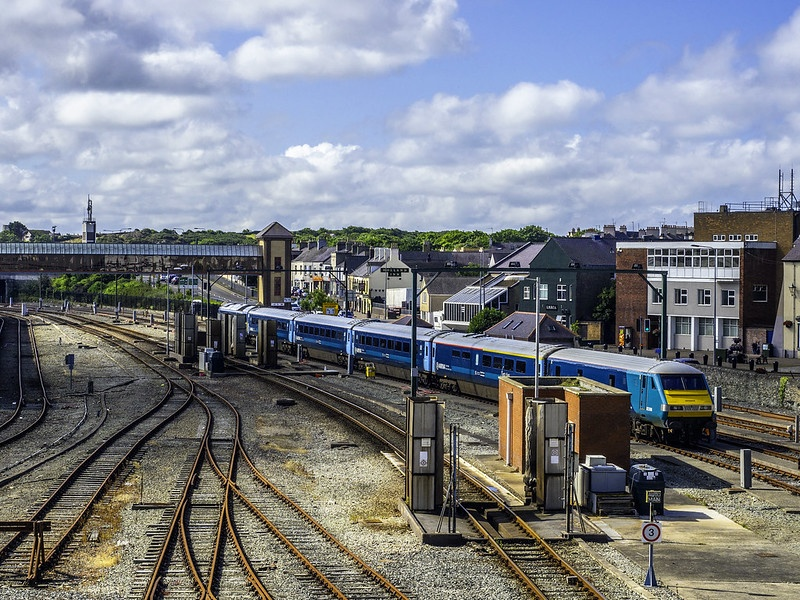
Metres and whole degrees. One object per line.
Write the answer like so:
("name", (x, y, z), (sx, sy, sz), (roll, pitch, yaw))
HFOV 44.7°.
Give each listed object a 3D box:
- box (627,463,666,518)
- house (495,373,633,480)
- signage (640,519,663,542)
("box", (8.940, 6.940, 35.282), (1.035, 1.555, 1.725), (-1, -10, 5))
("house", (6.223, 5.060, 38.781), (3.949, 3.625, 6.037), (-1, 5, -9))
("signage", (7.574, 7.073, 29.489), (0.561, 0.708, 0.427), (0, 5, 1))
